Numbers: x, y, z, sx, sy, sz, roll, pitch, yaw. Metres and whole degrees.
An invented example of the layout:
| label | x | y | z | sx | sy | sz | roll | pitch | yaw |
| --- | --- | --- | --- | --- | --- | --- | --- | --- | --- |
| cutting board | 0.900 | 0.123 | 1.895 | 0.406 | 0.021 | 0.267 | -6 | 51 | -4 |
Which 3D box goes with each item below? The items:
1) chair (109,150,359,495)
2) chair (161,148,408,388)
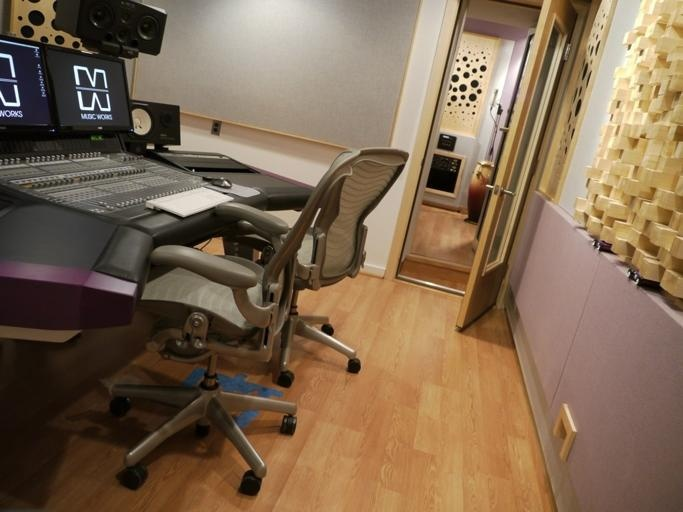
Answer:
| label | x | y | z | sx | sy | sz | roll | pitch | yaw |
| --- | --- | --- | --- | --- | --- | --- | --- | --- | --- |
| chair | -0.499 | 0.172 | 1.896 | 0.895 | 1.287 | 0.838 | 11 | 11 | -7 |
| chair | -0.205 | -0.023 | 2.426 | 0.876 | 1.214 | 0.986 | 6 | 14 | -20 |
